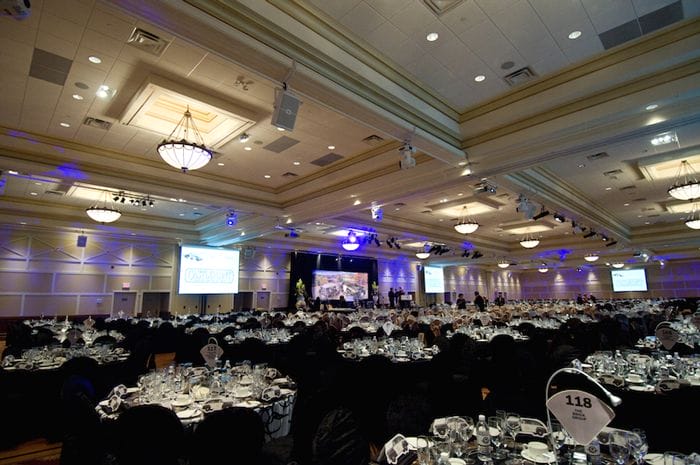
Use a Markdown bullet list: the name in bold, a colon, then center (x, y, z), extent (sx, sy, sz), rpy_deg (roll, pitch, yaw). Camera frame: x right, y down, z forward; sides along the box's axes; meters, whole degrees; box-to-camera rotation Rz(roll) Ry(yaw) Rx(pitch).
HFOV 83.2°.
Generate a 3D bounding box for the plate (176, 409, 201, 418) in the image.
- **plate**: center (-1.961, 2.230, 4.831), extent (0.194, 0.028, 0.146), rpy_deg (2, -2, -1)

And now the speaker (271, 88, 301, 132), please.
- **speaker**: center (-1.024, -1.994, 6.288), extent (0.390, 0.724, 0.218), rpy_deg (8, -16, -36)

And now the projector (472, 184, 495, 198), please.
- **projector**: center (3.343, -1.073, 9.730), extent (0.516, 0.280, 0.637), rpy_deg (3, -6, -13)
